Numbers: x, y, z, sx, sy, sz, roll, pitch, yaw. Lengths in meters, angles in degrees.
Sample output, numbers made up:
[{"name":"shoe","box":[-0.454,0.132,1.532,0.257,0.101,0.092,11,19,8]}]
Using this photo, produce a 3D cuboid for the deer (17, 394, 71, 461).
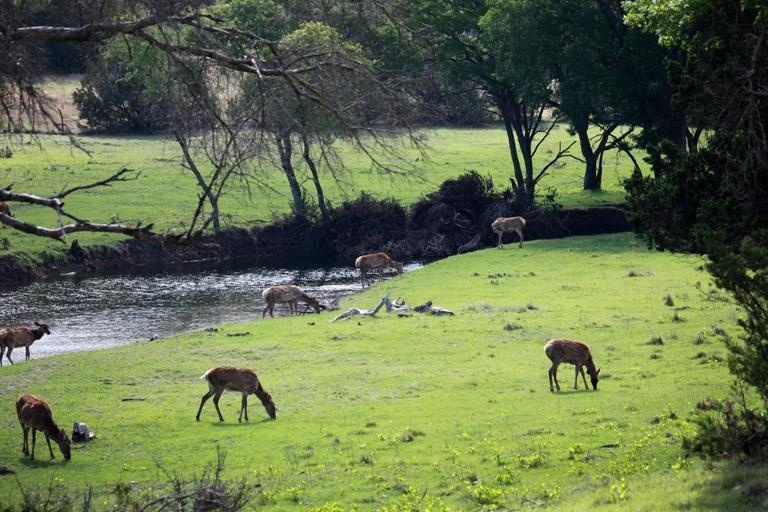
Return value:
[{"name":"deer","box":[-12.237,6.207,45.351,3.139,2.106,0.822,14,18,42]}]

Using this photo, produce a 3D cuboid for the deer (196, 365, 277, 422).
[{"name":"deer","box":[-5.050,5.086,48.454,4.109,2.944,1.371,1,0,-8]}]
